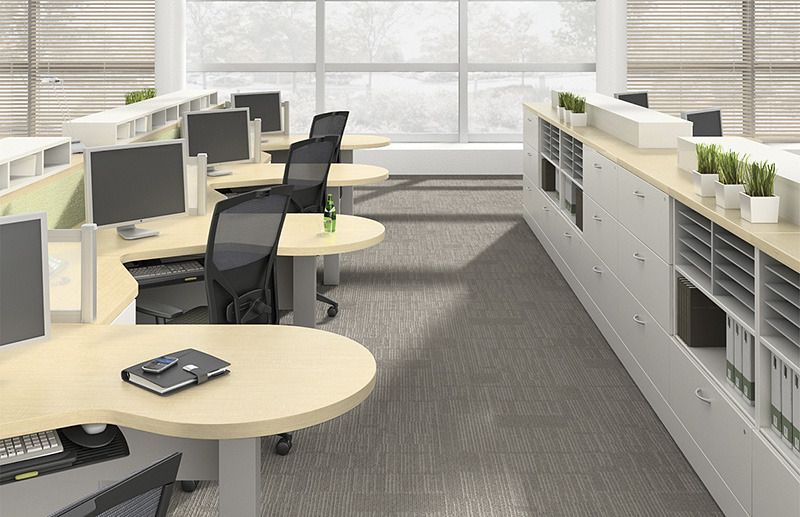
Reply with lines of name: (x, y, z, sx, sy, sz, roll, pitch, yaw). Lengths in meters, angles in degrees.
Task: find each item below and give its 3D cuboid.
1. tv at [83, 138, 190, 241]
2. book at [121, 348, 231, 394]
tv: (-1.749, -0.444, 3.945, 0.751, 0.590, 0.233, -7, 10, -42)
book: (-0.887, 0.407, 2.372, 0.200, 0.052, 0.241, 12, 14, 31)
